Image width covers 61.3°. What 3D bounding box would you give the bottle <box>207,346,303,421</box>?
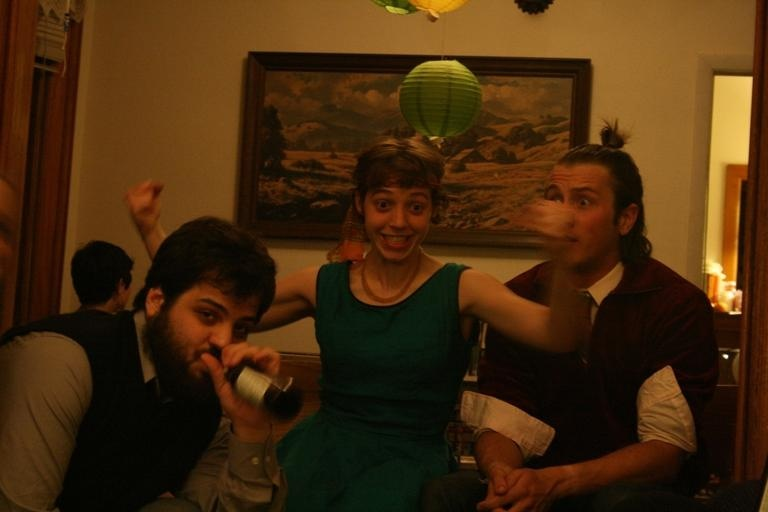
[{"bbox_3d":[-0.347,0.392,1.849,0.251,0.158,0.110,3,9,9],"label":"bottle"}]

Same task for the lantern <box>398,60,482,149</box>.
[{"bbox_3d":[0.332,-0.853,3.626,0.468,0.414,0.425,-1,12,-24],"label":"lantern"}]
